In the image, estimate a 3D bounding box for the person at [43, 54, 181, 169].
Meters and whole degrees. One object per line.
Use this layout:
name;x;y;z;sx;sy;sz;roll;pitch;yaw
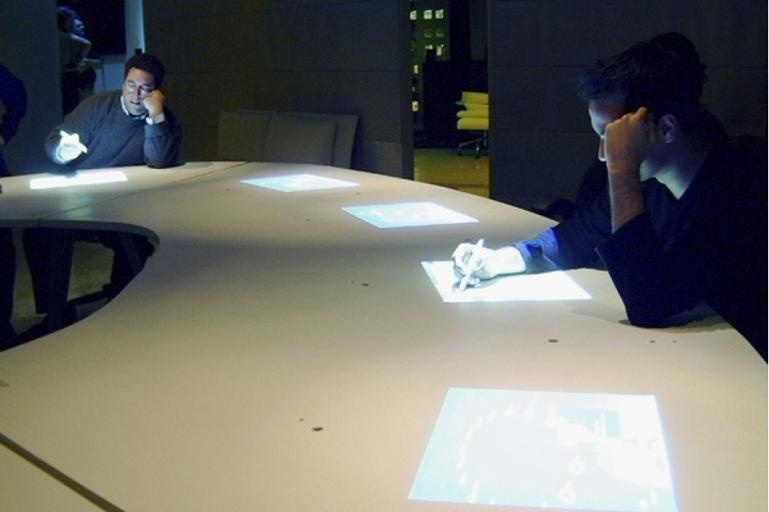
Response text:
person;-1.632;-0.865;3.364;0.712;0.704;0.600;4;4;-31

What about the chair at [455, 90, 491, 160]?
chair;1.426;-1.987;8.459;0.592;0.724;0.508;5;6;22
